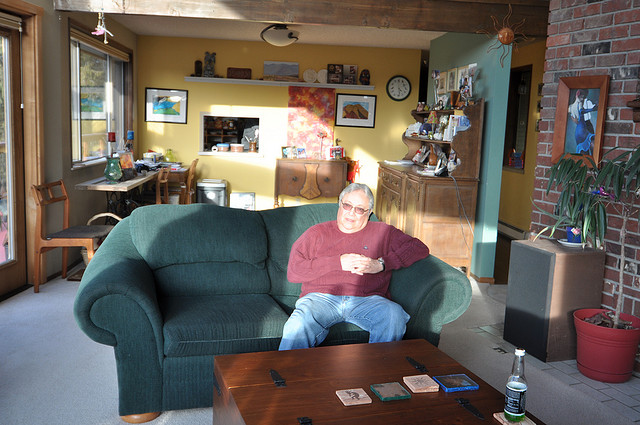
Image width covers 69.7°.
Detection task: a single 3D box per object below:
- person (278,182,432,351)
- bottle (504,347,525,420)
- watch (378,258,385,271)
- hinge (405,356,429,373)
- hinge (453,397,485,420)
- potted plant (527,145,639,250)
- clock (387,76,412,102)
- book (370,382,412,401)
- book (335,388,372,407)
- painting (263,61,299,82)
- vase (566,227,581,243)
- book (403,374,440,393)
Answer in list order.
[{"bbox_3d":[0.226,0.343,3.628,1.135,1.496,1.153,4,8,3],"label":"person"},{"bbox_3d":[1.026,0.889,2.377,0.103,0.374,0.121,7,13,25],"label":"bottle"},{"bbox_3d":[0.461,0.394,3.437,0.055,0.079,0.084,-2,8,-12],"label":"watch"},{"bbox_3d":[0.574,0.911,2.736,0.036,0.016,0.137,-3,7,-11],"label":"hinge"},{"bbox_3d":[0.801,1.040,2.446,0.047,0.025,0.166,1,11,-17],"label":"hinge"},{"bbox_3d":[2.097,-0.114,3.683,0.570,0.870,0.805,-8,15,-37],"label":"potted plant"},{"bbox_3d":[1.425,-2.268,8.340,0.407,0.415,0.415,-4,46,4],"label":"clock"},{"bbox_3d":[0.392,0.987,2.515,0.207,0.038,0.108,-1,13,-11],"label":"book"},{"bbox_3d":[0.181,1.001,2.469,0.176,0.038,0.103,-1,13,-13],"label":"book"},{"bbox_3d":[-0.695,-2.510,8.113,0.633,0.363,0.191,0,12,-7],"label":"painting"},{"bbox_3d":[2.050,0.185,3.730,0.117,0.092,0.119,0,1,0],"label":"vase"},{"bbox_3d":[0.567,0.959,2.564,0.102,0.025,0.107,-2,9,-15],"label":"book"}]
